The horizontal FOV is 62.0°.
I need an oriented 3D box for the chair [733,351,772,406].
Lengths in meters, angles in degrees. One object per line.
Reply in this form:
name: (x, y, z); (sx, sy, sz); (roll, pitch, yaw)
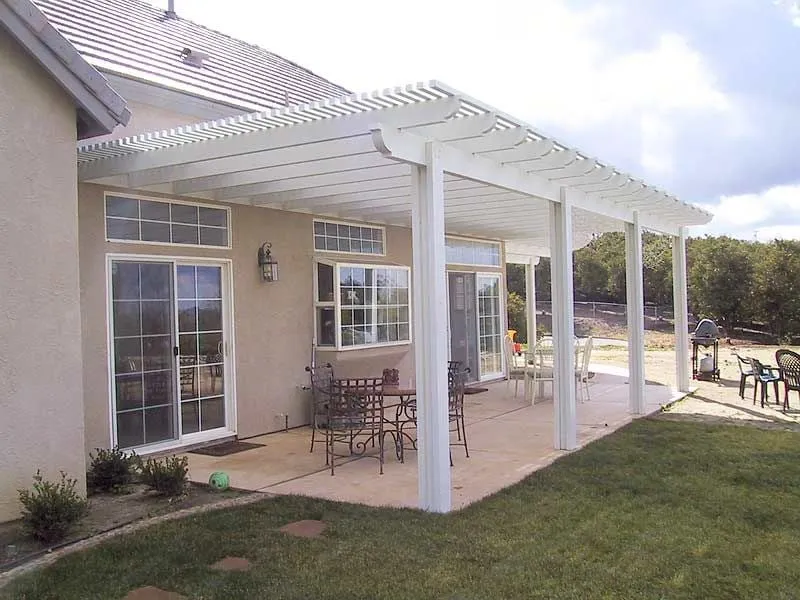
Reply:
chair: (6.711, 1.514, 12.746); (0.663, 0.976, 0.673); (-3, -1, 31)

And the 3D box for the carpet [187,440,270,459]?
carpet: (-2.279, 1.932, 8.736); (0.605, 0.056, 0.892); (3, 5, 36)

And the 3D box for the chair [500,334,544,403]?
chair: (2.584, 1.225, 12.668); (0.861, 1.190, 0.882); (-6, -2, 31)

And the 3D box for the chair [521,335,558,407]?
chair: (2.755, 1.348, 12.361); (0.741, 1.095, 0.763); (15, 7, -11)

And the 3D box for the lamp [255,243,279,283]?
lamp: (-1.881, -0.536, 9.580); (0.166, 0.564, 0.354); (2, 5, 30)
